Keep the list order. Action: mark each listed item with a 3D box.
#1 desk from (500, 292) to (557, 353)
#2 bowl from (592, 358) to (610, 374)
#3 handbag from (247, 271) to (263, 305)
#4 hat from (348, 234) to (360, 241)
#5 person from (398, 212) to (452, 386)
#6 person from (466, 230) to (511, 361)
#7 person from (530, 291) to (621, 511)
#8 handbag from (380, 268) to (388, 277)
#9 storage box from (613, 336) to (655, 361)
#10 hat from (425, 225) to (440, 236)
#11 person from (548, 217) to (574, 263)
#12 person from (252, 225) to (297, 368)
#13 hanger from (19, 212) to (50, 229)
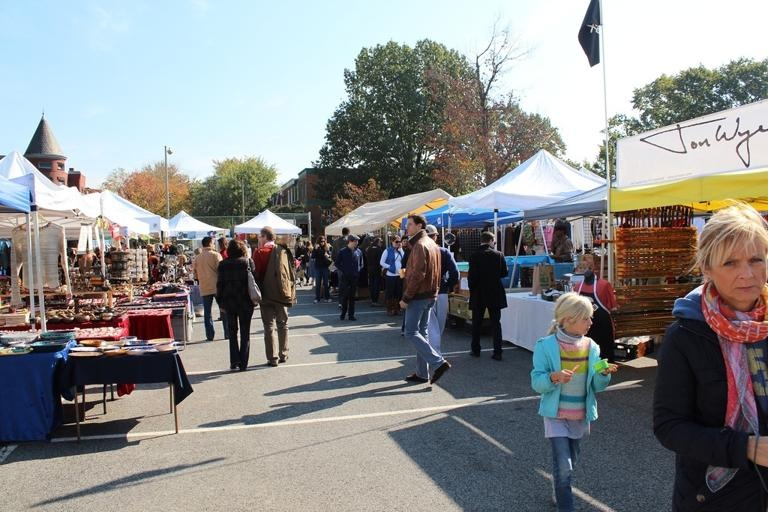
[{"bbox_3d":[2.410,1.073,10.207,0.993,0.633,0.995,-3,10,-27],"label":"desk"},{"bbox_3d":[1.815,0.926,4.983,0.149,0.114,0.154,1,-33,1],"label":"bowl"},{"bbox_3d":[-2.042,0.516,9.492,0.167,0.478,0.387,-15,-10,-19],"label":"handbag"},{"bbox_3d":[-0.711,-0.441,14.750,0.251,0.129,0.181,0,7,-21],"label":"hat"},{"bbox_3d":[0.550,0.625,8.446,0.619,2.368,0.787,-1,8,4],"label":"person"},{"bbox_3d":[1.717,0.649,9.851,0.615,2.046,0.791,-3,9,-16],"label":"person"},{"bbox_3d":[1.618,1.256,5.217,0.645,1.822,0.504,0,8,10],"label":"person"},{"bbox_3d":[-0.078,0.442,16.117,0.217,0.212,0.383,7,-7,0],"label":"handbag"},{"bbox_3d":[3.953,1.392,9.439,0.573,0.218,0.578,-10,7,-35],"label":"storage box"},{"bbox_3d":[0.754,-0.404,9.335,0.255,0.136,0.180,-3,3,-27],"label":"hat"},{"bbox_3d":[3.808,-0.282,12.816,0.411,0.778,0.870,2,9,18],"label":"person"},{"bbox_3d":[-1.747,0.640,9.732,0.600,2.182,0.689,-7,10,-35],"label":"person"},{"bbox_3d":[-5.505,-0.567,9.508,0.385,0.193,0.387,0,-9,-24],"label":"hanger"}]
